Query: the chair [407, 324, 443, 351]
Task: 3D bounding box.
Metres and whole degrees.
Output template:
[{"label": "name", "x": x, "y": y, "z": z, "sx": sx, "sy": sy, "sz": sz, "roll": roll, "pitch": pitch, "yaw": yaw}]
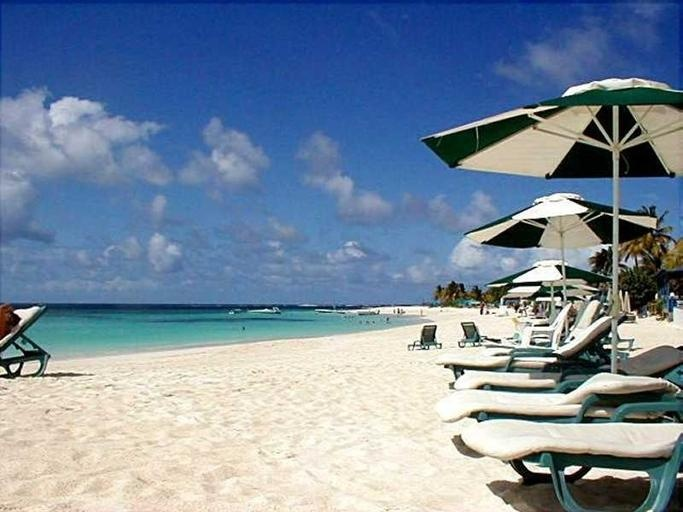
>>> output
[{"label": "chair", "x": 2.394, "y": 2.286, "z": 14.386, "sx": 0.758, "sy": 0.774, "sz": 1.284, "roll": 1, "pitch": -6, "yaw": -7}]
